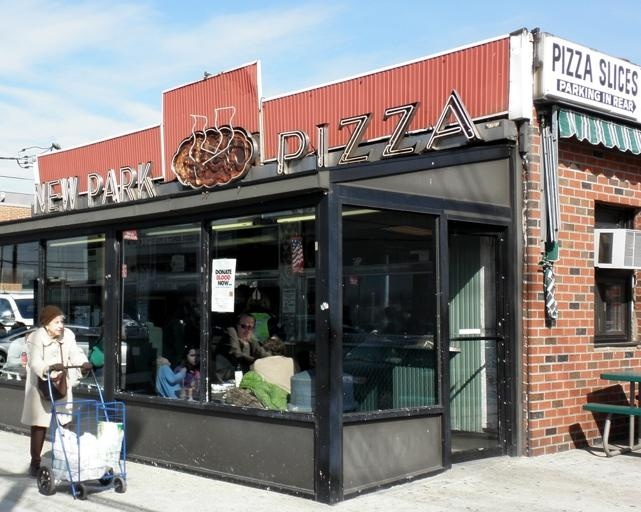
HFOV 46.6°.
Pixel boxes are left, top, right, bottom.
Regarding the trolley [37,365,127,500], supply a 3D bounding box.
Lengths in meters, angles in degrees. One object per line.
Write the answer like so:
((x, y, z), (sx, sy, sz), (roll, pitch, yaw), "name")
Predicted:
((-2.463, 1.965, 8.319), (0.763, 1.065, 0.756), (-4, -13, 17), "trolley")

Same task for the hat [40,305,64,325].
((-3.208, 0.708, 8.855), (0.244, 0.229, 0.240), (-11, -9, 33), "hat")

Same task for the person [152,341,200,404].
((-1.825, 1.467, 9.604), (0.615, 1.205, 0.659), (1, -2, -18), "person")

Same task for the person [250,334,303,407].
((-0.597, 1.348, 8.649), (0.173, 0.796, 0.760), (0, 0, -43), "person")

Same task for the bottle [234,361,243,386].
((-0.987, 1.443, 8.942), (0.063, 0.252, 0.146), (0, 0, -36), "bottle")
